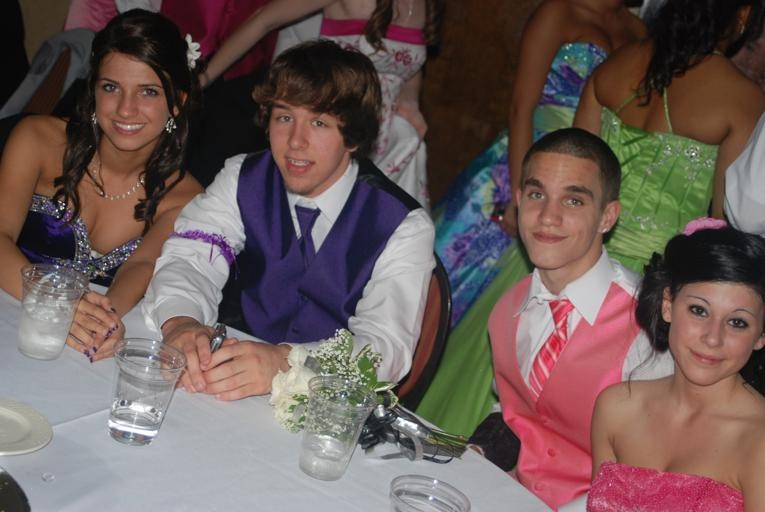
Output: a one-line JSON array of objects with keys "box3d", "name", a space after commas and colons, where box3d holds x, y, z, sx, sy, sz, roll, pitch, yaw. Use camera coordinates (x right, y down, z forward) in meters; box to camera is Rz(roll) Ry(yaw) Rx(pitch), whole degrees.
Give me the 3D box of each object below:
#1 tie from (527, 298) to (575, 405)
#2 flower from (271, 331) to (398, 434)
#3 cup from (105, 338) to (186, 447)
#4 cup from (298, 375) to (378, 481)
[{"box3d": [0.689, 0.378, 2.850, 0.144, 0.411, 0.106, 13, -9, 34], "name": "tie"}, {"box3d": [-0.163, 0.353, 2.125, 0.312, 0.144, 0.319, -8, 31, -17], "name": "flower"}, {"box3d": [-0.697, 0.396, 2.044, 0.188, 0.269, 0.145, 14, 8, -6], "name": "cup"}, {"box3d": [-0.142, 0.500, 2.040, 0.192, 0.194, 0.124, 13, 8, -17], "name": "cup"}]
